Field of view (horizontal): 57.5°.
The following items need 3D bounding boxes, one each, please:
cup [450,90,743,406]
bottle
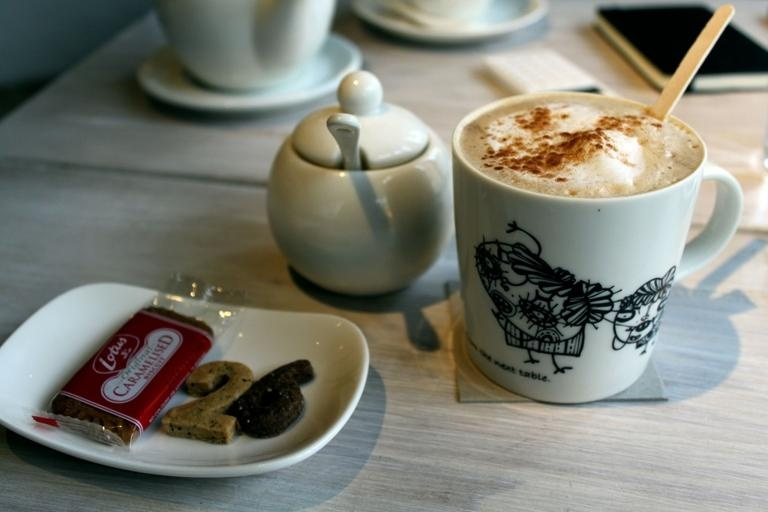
[{"bbox_3d":[0.138,-0.014,0.711,0.291,0.262,0.229,-6,40,2],"label":"cup"},{"bbox_3d":[-0.021,-0.111,0.785,0.191,0.229,0.300,2,32,5],"label":"bottle"}]
